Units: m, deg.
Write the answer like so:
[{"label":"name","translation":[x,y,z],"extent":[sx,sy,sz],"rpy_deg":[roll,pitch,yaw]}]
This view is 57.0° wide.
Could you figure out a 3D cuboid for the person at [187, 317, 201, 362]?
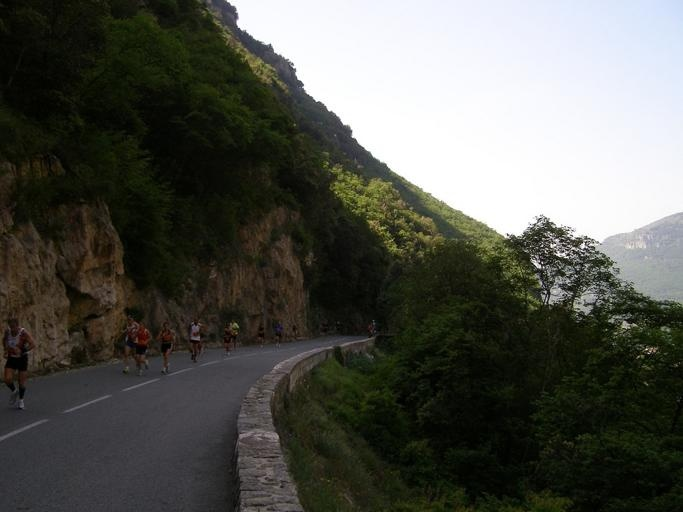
[{"label":"person","translation":[-7.463,4.315,31.934],"extent":[0.556,2.115,1.196],"rpy_deg":[9,-8,-11]}]

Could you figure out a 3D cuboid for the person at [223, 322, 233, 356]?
[{"label":"person","translation":[-6.737,5.021,37.224],"extent":[0.520,1.647,2.223],"rpy_deg":[9,-8,-9]}]
